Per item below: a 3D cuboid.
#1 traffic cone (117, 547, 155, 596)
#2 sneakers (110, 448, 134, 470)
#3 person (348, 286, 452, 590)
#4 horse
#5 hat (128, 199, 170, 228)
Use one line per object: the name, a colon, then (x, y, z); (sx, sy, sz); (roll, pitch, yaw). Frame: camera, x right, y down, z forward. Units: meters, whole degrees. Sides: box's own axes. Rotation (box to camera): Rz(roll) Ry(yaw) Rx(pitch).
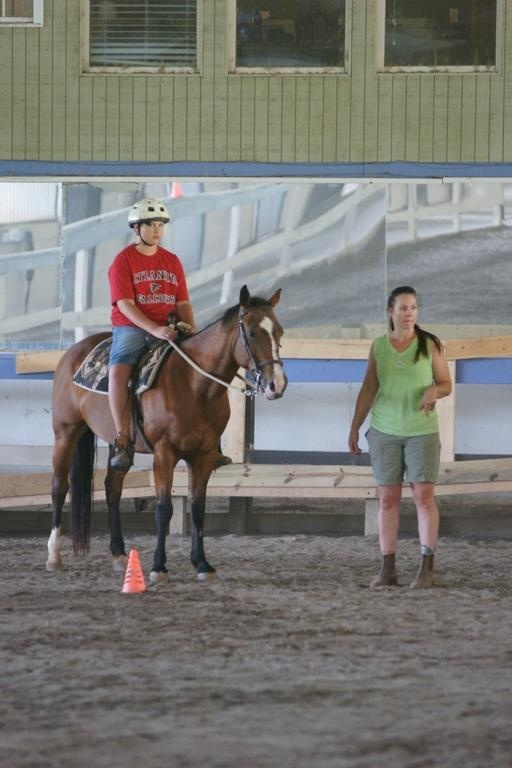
traffic cone: (-0.629, 1.054, 10.285); (0.177, 0.277, 0.192); (13, -20, -40)
sneakers: (-0.732, 0.413, 10.491); (0.115, 0.126, 0.118); (3, 10, -6)
person: (0.773, 0.371, 10.163); (0.532, 1.455, 0.394); (2, 8, 10)
horse: (-0.526, 0.311, 10.721); (0.483, 1.679, 1.877); (-1, -1, -42)
hat: (-0.598, -1.003, 10.621); (0.137, 0.172, 0.197); (-1, -12, -21)
